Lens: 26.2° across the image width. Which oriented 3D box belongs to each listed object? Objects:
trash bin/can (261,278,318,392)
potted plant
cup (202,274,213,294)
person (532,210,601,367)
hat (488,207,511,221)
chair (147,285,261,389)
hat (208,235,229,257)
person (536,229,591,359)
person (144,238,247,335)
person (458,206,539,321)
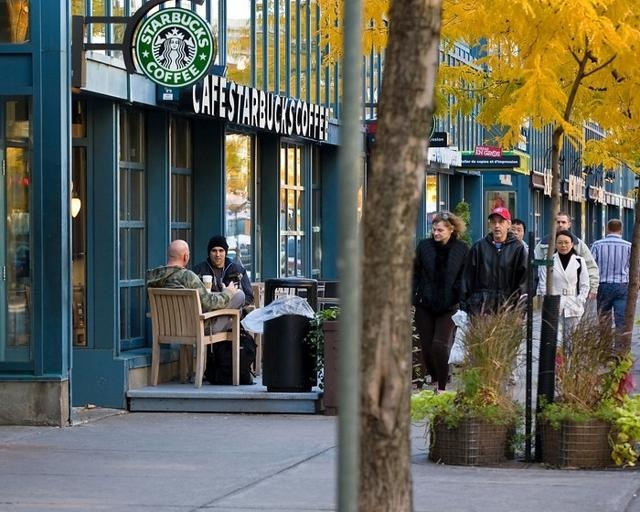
[{"bbox_3d":[-0.334,0.834,15.602,0.639,1.287,0.656,-3,3,-42],"label":"trash bin/can"},{"bbox_3d":[1.870,1.048,12.744,1.657,1.282,1.569,0,-1,4],"label":"potted plant"},{"bbox_3d":[-1.313,0.299,15.938,0.155,0.214,0.159,-1,-8,0],"label":"cup"},{"bbox_3d":[2.800,0.447,15.945,0.760,1.698,0.483,-8,18,-11],"label":"person"},{"bbox_3d":[1.978,-0.484,15.050,0.152,0.122,0.229,4,-21,30],"label":"hat"},{"bbox_3d":[-1.571,0.832,16.029,1.105,1.545,1.039,1,2,34],"label":"chair"},{"bbox_3d":[-1.219,-0.124,16.374,0.189,0.185,0.218,2,-10,-2],"label":"hat"},{"bbox_3d":[2.849,0.471,15.936,0.534,1.659,0.487,1,27,15],"label":"person"},{"bbox_3d":[-1.503,0.504,16.004,1.060,1.481,1.024,0,13,17],"label":"person"},{"bbox_3d":[1.907,0.345,14.909,0.758,1.694,0.479,0,-14,8],"label":"person"}]
